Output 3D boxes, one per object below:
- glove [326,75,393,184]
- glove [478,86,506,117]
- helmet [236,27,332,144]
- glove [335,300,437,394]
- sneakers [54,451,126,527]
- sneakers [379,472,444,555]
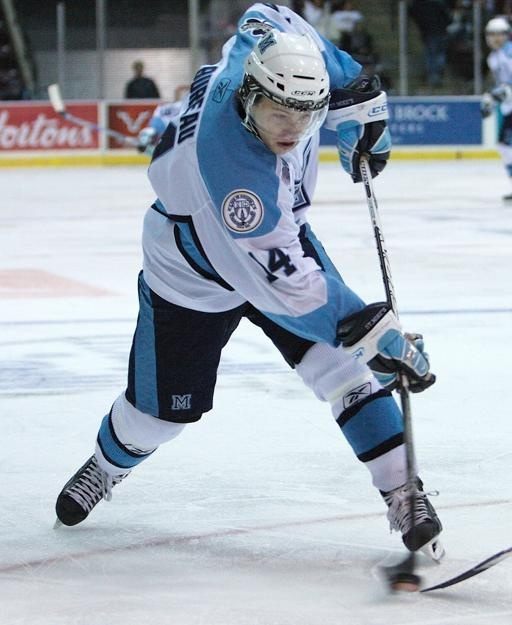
[{"bbox_3d":[0.229,-0.412,1.685,0.173,0.225,0.121,-18,24,-31],"label":"glove"},{"bbox_3d":[2.847,-2.545,8.966,0.194,0.198,0.696,-19,-8,11],"label":"glove"},{"bbox_3d":[0.044,-0.372,1.212,0.142,0.192,0.140,-1,13,4],"label":"helmet"},{"bbox_3d":[0.221,0.059,1.319,0.214,0.117,0.081,34,-5,-16],"label":"glove"},{"bbox_3d":[-0.346,0.393,1.673,0.107,0.068,0.232,-33,8,7],"label":"sneakers"},{"bbox_3d":[0.275,0.383,1.408,0.093,0.065,0.187,42,12,-8],"label":"sneakers"}]
